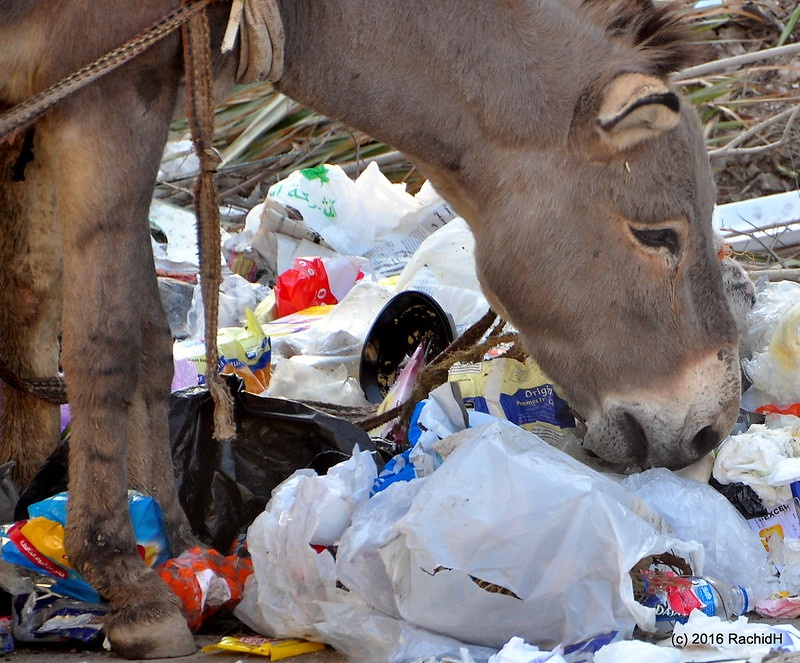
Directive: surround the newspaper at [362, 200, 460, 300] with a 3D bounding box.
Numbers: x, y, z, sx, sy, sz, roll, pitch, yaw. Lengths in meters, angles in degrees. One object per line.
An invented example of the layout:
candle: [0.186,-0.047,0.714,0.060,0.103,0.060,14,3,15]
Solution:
newspaper: [0.062,-0.362,5.218,0.406,0.266,0.107,-43,-47,0]
